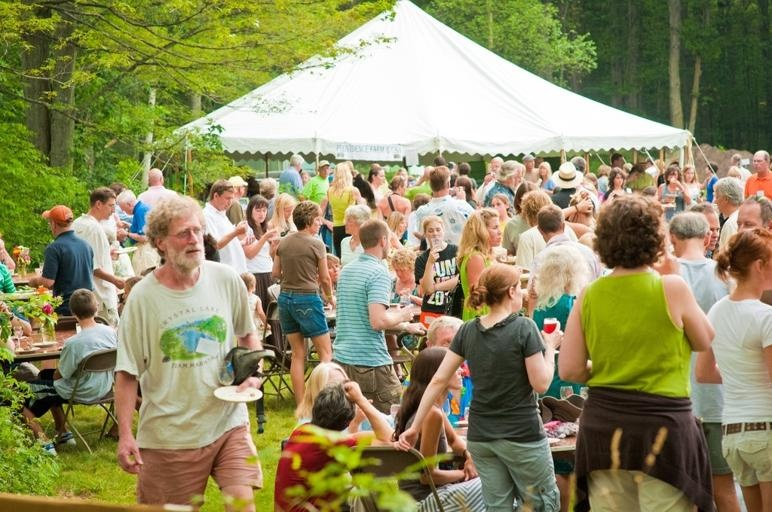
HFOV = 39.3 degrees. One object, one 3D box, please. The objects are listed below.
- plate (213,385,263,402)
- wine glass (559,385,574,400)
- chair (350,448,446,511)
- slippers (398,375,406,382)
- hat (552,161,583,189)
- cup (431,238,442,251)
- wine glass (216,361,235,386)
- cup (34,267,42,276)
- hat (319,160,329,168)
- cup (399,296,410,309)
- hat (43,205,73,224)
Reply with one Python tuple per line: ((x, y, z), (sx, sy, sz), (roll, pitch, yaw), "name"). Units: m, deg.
((-1.420, 1.277, 9.904), (0.439, 0.135, 0.291), (-2, 0, 7), "plate")
((1.845, 1.387, 10.996), (0.130, 0.141, 0.127), (0, 0, -15), "wine glass")
((0.102, 2.120, 10.230), (0.857, 0.489, 0.543), (-2, 1, 1), "chair")
((0.187, 1.615, 14.185), (0.117, 0.148, 0.145), (-1, -7, 0), "slippers")
((2.771, -1.109, 16.472), (0.449, 0.192, 0.522), (5, 38, 16), "hat")
((0.610, -0.138, 13.289), (0.131, 0.145, 0.132), (-1, 8, 0), "cup")
((-1.518, 1.090, 10.012), (0.171, 0.197, 0.142), (1, -11, 3), "wine glass")
((-5.176, 0.234, 15.776), (0.143, 0.112, 0.128), (-1, 0, -11), "cup")
((-1.131, -1.612, 18.904), (0.159, 0.080, 0.246), (0, 2, -11), "hat")
((0.212, 0.595, 13.727), (0.143, 0.128, 0.230), (-4, -9, 1), "cup")
((-4.283, -0.554, 13.747), (0.316, 0.190, 0.485), (-9, 16, -38), "hat")
